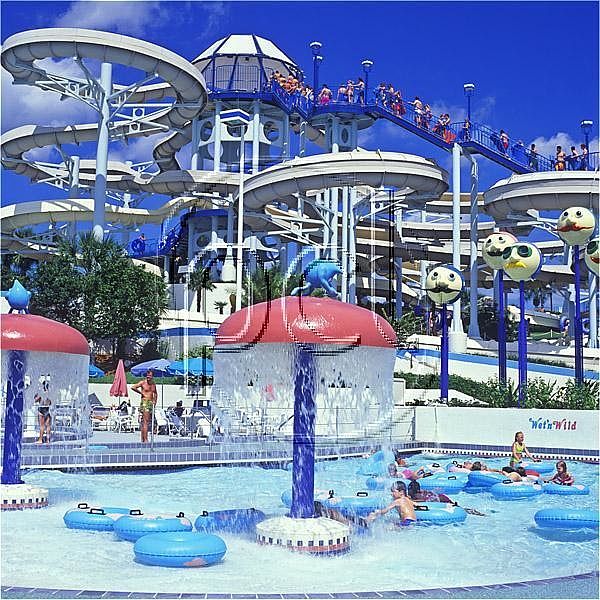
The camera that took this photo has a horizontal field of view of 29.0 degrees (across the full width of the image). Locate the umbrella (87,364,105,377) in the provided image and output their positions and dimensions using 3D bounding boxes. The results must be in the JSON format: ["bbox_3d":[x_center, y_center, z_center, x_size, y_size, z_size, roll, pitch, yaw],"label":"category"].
[{"bbox_3d":[-4.542,1.619,25.779,0.466,0.217,0.460,11,-12,-38],"label":"umbrella"}]

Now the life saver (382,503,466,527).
[{"bbox_3d":[1.621,2.867,15.539,0.790,0.318,0.979,-8,-4,28],"label":"life saver"}]

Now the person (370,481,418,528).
[{"bbox_3d":[1.247,2.654,15.092,0.486,0.518,0.797,-2,-5,26],"label":"person"}]

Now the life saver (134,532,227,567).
[{"bbox_3d":[-1.378,2.865,13.274,1.032,0.333,0.377,1,-5,-9],"label":"life saver"}]

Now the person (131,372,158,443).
[{"bbox_3d":[-2.522,1.782,19.521,0.420,1.190,0.490,-1,2,-37],"label":"person"}]

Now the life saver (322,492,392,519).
[{"bbox_3d":[0.736,2.769,15.583,0.702,0.234,0.781,-3,-3,14],"label":"life saver"}]
